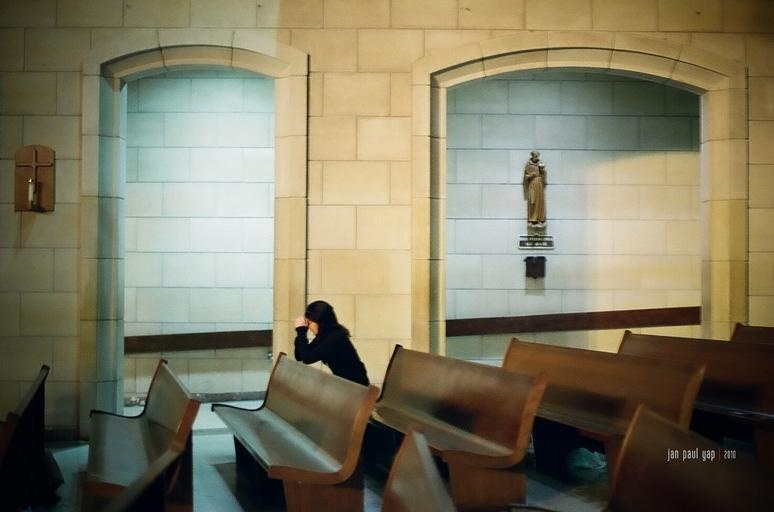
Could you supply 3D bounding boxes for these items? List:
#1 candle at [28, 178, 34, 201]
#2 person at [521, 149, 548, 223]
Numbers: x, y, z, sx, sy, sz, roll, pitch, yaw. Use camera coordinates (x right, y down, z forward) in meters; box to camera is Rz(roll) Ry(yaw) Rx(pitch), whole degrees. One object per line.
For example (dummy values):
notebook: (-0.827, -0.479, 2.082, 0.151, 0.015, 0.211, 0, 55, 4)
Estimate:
candle: (-4.507, -0.810, 8.982, 0.079, 0.303, 0.050, -3, 5, -23)
person: (2.316, -1.041, 11.175, 0.376, 1.150, 0.198, 0, 5, 4)
